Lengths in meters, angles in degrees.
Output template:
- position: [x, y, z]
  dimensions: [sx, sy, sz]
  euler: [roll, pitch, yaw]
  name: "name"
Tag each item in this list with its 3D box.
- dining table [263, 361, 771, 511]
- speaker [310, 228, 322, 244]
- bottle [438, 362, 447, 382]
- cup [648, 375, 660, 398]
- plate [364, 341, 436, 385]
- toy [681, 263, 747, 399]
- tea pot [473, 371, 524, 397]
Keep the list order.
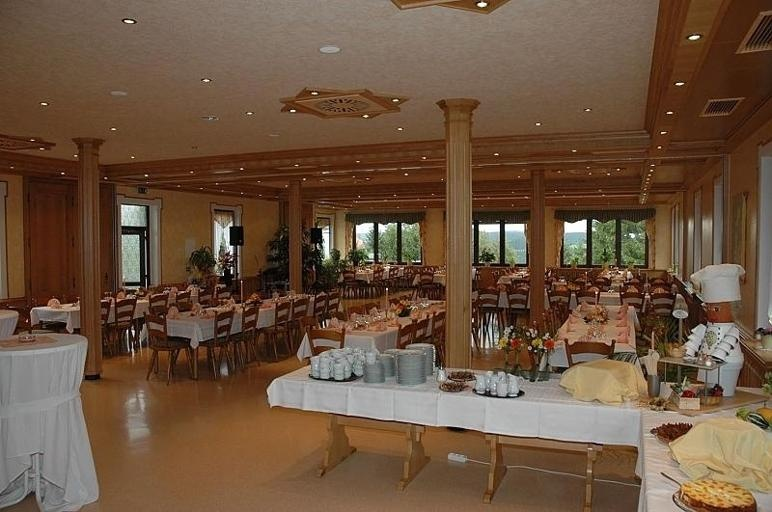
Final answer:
- position: [0.736, 1.482, 4.705]
  dimensions: [3.594, 0.527, 1.612]
  euler: [4, 9, 37]
  name: "dining table"
- position: [-2.154, -0.615, 15.763]
  dimensions: [0.439, 0.431, 0.805]
  euler: [6, -1, 3]
  name: "speaker"
- position: [0.546, 1.132, 5.052]
  dimensions: [0.111, 0.238, 0.106]
  euler: [-2, 2, 0]
  name: "bottle"
- position: [2.286, 1.103, 4.404]
  dimensions: [0.097, 0.185, 0.098]
  euler: [-1, 8, 0]
  name: "cup"
- position: [0.116, 1.036, 5.031]
  dimensions: [0.472, 0.178, 0.375]
  euler: [-1, -2, 21]
  name: "plate"
- position: [2.705, 0.631, 4.263]
  dimensions: [0.428, 1.107, 0.431]
  euler: [3, 9, 29]
  name: "toy"
- position: [0.999, 1.149, 4.689]
  dimensions: [0.358, 0.149, 0.214]
  euler: [-1, -3, 27]
  name: "tea pot"
